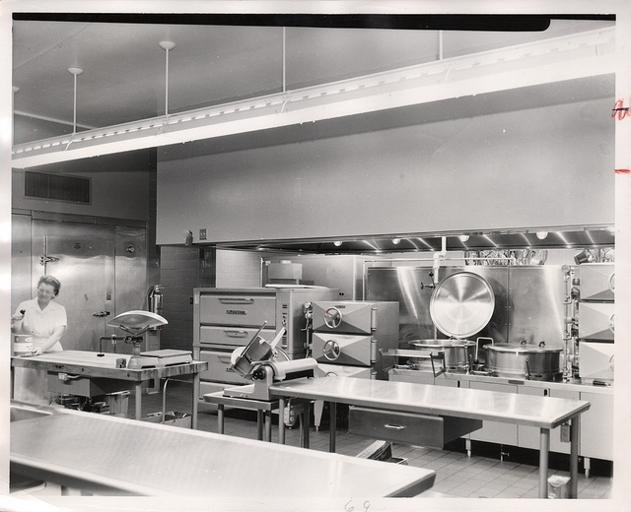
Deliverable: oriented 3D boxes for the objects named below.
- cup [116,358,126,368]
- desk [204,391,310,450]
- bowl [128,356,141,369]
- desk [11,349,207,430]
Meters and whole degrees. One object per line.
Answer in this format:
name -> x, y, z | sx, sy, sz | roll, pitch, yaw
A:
cup -> -1.649, 0.907, 5.257 | 0.071, 0.066, 0.072 | -1, -4, 0
desk -> -0.515, 1.305, 4.691 | 0.512, 0.460, 0.513 | -3, -11, 10
bowl -> -1.497, 0.893, 5.156 | 0.104, 0.096, 0.088 | 1, 0, 37
desk -> -1.888, 1.419, 5.715 | 1.550, 0.899, 0.808 | -3, -6, 35
